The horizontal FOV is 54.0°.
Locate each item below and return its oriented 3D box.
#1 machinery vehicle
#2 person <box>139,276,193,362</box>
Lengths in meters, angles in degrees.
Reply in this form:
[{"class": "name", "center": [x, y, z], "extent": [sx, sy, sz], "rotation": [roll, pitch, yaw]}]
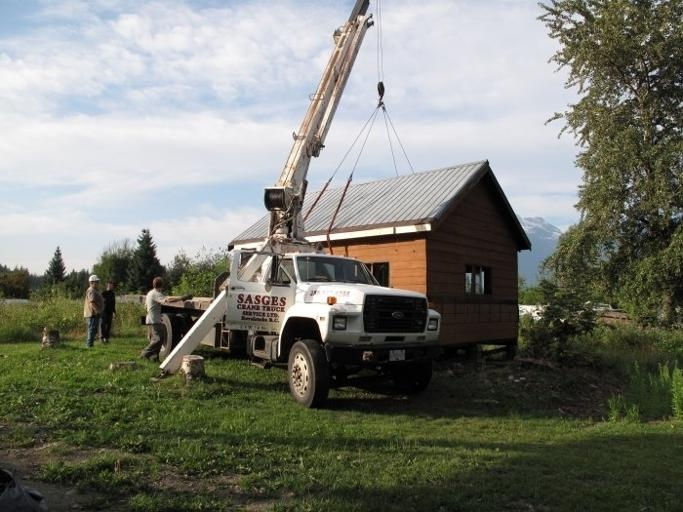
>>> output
[{"class": "machinery vehicle", "center": [-1.181, -1.411, 15.887], "extent": [5.336, 9.186, 5.756], "rotation": [-2, 6, -32]}, {"class": "person", "center": [-4.586, 1.639, 17.317], "extent": [1.229, 2.294, 1.142], "rotation": [1, 4, -18]}]
